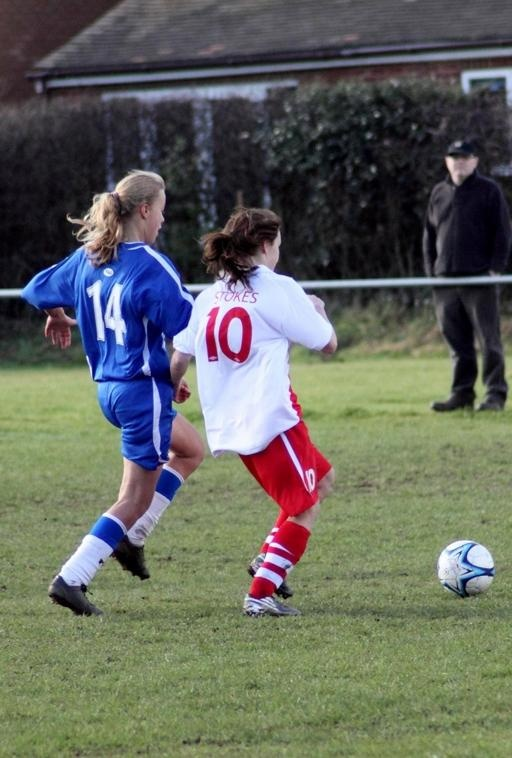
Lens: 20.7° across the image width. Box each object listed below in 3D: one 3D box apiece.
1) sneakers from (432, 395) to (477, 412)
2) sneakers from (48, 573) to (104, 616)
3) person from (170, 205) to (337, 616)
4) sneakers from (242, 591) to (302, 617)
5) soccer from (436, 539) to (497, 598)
[{"bbox_3d":[0.914,0.121,6.576,0.185,0.140,0.066,3,0,27],"label":"sneakers"},{"bbox_3d":[-0.668,0.809,5.180,0.166,0.163,0.115,3,14,19],"label":"sneakers"},{"bbox_3d":[0.010,0.126,5.251,0.444,1.507,0.530,-14,18,-41],"label":"person"},{"bbox_3d":[0.052,0.845,5.215,0.222,0.104,0.078,0,-1,-7],"label":"sneakers"},{"bbox_3d":[0.789,0.735,5.394,0.210,0.185,0.156,0,14,6],"label":"soccer"}]
